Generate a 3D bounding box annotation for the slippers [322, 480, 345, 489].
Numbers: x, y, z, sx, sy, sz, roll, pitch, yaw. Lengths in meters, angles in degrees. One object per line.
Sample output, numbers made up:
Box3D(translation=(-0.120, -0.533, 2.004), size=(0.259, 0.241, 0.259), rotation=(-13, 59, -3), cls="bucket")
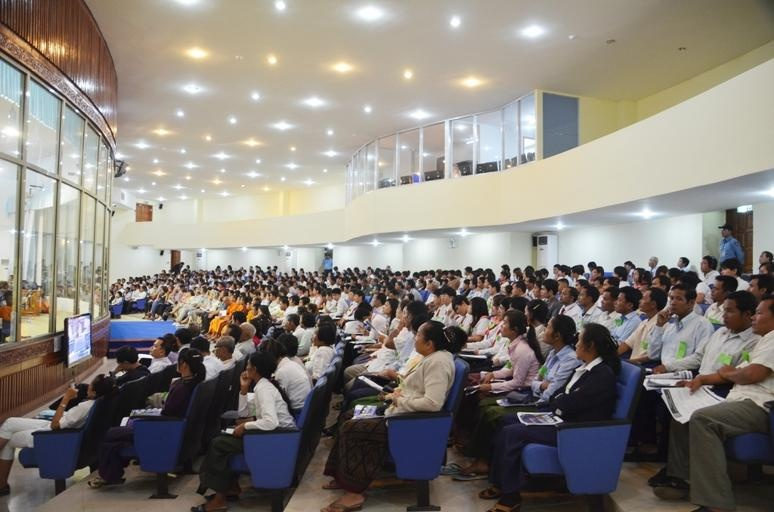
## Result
Box3D(translation=(-0.550, 2.329, 5.227), size=(0.242, 0.090, 0.134), rotation=(6, -12, -2), cls="slippers")
